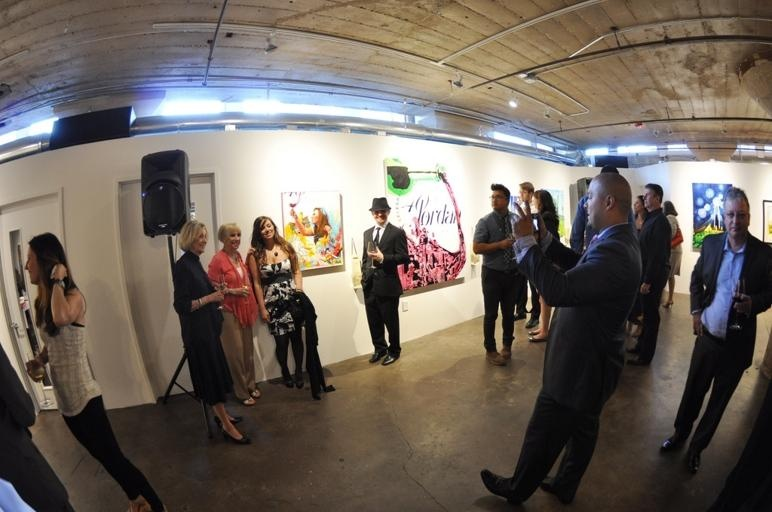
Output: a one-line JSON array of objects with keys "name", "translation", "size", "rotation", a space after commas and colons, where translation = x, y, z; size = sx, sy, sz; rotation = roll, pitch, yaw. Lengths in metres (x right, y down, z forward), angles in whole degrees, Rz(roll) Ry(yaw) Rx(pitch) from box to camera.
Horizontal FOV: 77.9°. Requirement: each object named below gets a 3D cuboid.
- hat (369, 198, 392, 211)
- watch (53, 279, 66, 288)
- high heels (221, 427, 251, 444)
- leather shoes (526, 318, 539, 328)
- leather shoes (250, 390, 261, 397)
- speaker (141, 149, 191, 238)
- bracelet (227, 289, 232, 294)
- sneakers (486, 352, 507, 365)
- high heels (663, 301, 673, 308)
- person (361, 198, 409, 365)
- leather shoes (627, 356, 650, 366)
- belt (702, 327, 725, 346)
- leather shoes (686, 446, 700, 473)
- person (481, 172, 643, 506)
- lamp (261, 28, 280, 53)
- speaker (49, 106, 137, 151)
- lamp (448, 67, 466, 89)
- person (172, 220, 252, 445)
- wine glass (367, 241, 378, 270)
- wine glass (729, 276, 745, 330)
[{"name": "hat", "translation": [-0.094, -0.736, 6.779], "size": [0.247, 0.130, 0.339], "rotation": [-4, -1, 6]}, {"name": "watch", "translation": [-2.992, 0.267, 4.378], "size": [0.086, 0.061, 0.094], "rotation": [-12, -17, 42]}, {"name": "high heels", "translation": [-1.596, 1.991, 5.266], "size": [0.378, 0.165, 0.126], "rotation": [-4, -4, 6]}, {"name": "leather shoes", "translation": [2.408, 1.122, 7.857], "size": [0.096, 0.115, 0.292], "rotation": [-6, -6, 43]}, {"name": "leather shoes", "translation": [-1.664, 1.762, 6.079], "size": [0.058, 0.032, 0.116], "rotation": [-6, 4, -41]}, {"name": "speaker", "translation": [-2.564, -0.731, 5.536], "size": [0.525, 0.968, 0.383], "rotation": [-5, 8, -16]}, {"name": "bracelet", "translation": [-1.761, 0.401, 5.370], "size": [0.055, 0.052, 0.013], "rotation": [-3, 3, -33]}, {"name": "sneakers", "translation": [1.511, 1.406, 6.522], "size": [0.136, 0.110, 0.260], "rotation": [-1, -5, -37]}, {"name": "high heels", "translation": [5.353, 0.930, 9.026], "size": [0.183, 0.096, 0.097], "rotation": [-8, 0, -21]}, {"name": "person", "translation": [-0.005, 0.524, 6.752], "size": [0.675, 1.992, 0.395], "rotation": [-1, 8, 9]}, {"name": "leather shoes", "translation": [3.298, 1.370, 6.278], "size": [0.294, 0.129, 0.103], "rotation": [5, 9, 21]}, {"name": "belt", "translation": [3.130, 0.772, 4.558], "size": [0.154, 0.112, 0.154], "rotation": [-3, 1, -11]}, {"name": "leather shoes", "translation": [2.918, 1.959, 4.529], "size": [0.092, 0.277, 0.178], "rotation": [1, -41, 27]}, {"name": "person", "translation": [1.595, 0.786, 4.111], "size": [1.170, 2.934, 0.489], "rotation": [-5, 8, -16]}, {"name": "lamp", "translation": [-1.481, -2.778, 6.191], "size": [0.242, 0.350, 0.201], "rotation": [10, 18, 39]}, {"name": "speaker", "translation": [-3.864, -1.680, 6.332], "size": [0.786, 0.391, 0.137], "rotation": [-9, -25, 2]}, {"name": "lamp", "translation": [1.140, -2.821, 7.631], "size": [0.275, 0.145, 0.298], "rotation": [13, -21, -7]}, {"name": "person", "translation": [-1.906, 0.844, 5.155], "size": [0.584, 2.410, 0.412], "rotation": [-2, 8, 9]}, {"name": "wine glass", "translation": [-0.176, -0.018, 6.701], "size": [0.120, 0.376, 0.189], "rotation": [-3, 8, -1]}, {"name": "wine glass", "translation": [3.314, 0.474, 4.495], "size": [0.110, 0.466, 0.219], "rotation": [4, 11, 40]}]
